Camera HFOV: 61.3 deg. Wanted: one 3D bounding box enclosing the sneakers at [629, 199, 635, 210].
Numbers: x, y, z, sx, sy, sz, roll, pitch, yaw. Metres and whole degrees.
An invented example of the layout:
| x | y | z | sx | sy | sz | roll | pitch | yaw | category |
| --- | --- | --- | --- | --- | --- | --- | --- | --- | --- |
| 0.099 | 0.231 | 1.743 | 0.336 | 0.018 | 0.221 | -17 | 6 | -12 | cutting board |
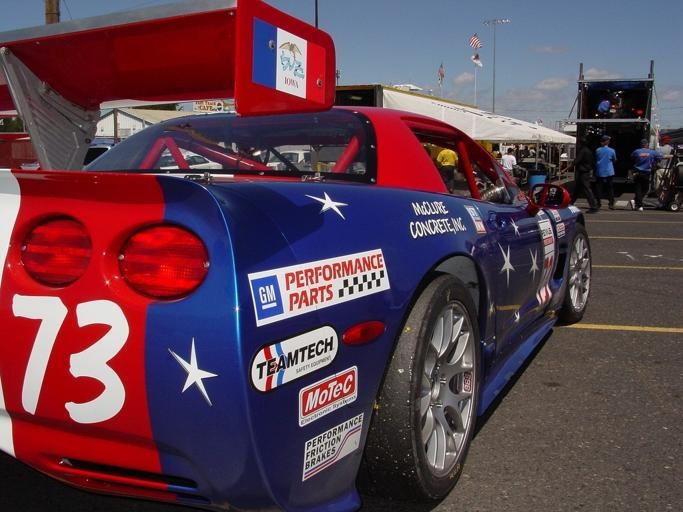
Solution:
| x | y | z | sx | sy | sz | roll | pitch | yaw | category |
| --- | --- | --- | --- | --- | --- | --- | --- | --- | --- |
| 8.219 | -1.441 | 16.169 | 0.100 | 0.334 | 0.129 | 22 | -33 | -22 | sneakers |

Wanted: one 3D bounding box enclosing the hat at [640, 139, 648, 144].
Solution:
| x | y | z | sx | sy | sz | roll | pitch | yaw | category |
| --- | --- | --- | --- | --- | --- | --- | --- | --- | --- |
| 8.792 | -3.303 | 16.609 | 0.186 | 0.093 | 0.278 | -2 | 19 | 30 | hat |

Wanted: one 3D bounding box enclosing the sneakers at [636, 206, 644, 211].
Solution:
| x | y | z | sx | sy | sz | roll | pitch | yaw | category |
| --- | --- | --- | --- | --- | --- | --- | --- | --- | --- |
| 8.185 | -1.286 | 15.698 | 0.085 | 0.110 | 0.239 | 3 | -7 | 35 | sneakers |
